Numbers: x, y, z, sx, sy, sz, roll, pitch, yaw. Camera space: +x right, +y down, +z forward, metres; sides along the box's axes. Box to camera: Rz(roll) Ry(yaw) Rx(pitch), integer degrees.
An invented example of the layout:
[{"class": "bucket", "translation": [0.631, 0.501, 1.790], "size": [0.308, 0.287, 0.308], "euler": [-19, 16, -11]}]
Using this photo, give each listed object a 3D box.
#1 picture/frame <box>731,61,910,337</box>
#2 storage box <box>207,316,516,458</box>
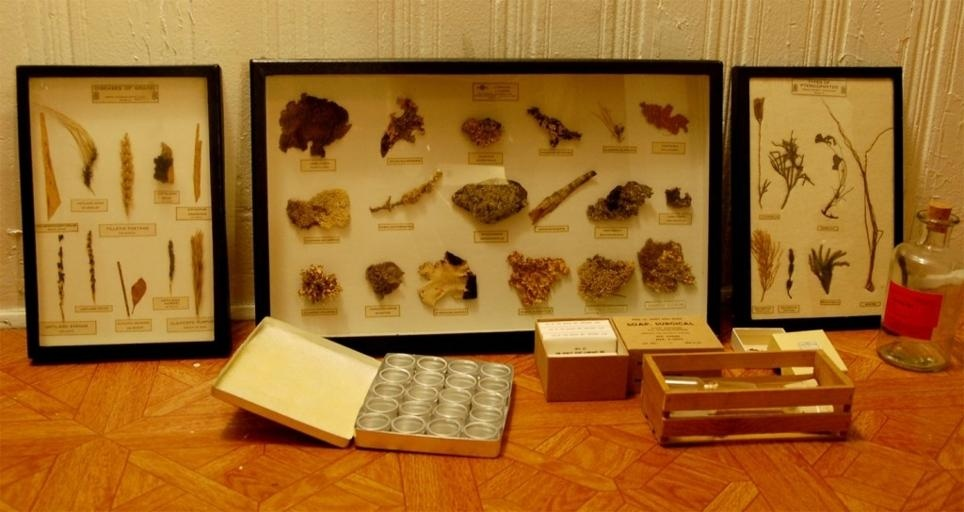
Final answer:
[{"class": "picture/frame", "translation": [1.248, -0.220, 2.455], "size": [0.735, 0.985, 0.235], "euler": [-7, 16, -3]}, {"class": "storage box", "translation": [-0.359, 0.421, 2.099], "size": [0.901, 0.187, 0.404], "euler": [4, 36, 4]}]
